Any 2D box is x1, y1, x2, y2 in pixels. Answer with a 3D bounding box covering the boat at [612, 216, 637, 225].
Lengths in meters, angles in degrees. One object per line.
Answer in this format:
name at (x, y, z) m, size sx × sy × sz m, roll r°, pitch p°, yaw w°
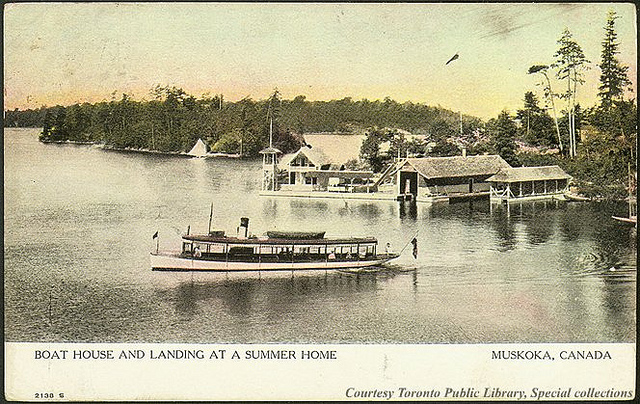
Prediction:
boat at (9.778, 0.534, 28.434) m, size 0.394 × 0.224 × 0.975 m, roll -2°, pitch 11°, yaw -20°
